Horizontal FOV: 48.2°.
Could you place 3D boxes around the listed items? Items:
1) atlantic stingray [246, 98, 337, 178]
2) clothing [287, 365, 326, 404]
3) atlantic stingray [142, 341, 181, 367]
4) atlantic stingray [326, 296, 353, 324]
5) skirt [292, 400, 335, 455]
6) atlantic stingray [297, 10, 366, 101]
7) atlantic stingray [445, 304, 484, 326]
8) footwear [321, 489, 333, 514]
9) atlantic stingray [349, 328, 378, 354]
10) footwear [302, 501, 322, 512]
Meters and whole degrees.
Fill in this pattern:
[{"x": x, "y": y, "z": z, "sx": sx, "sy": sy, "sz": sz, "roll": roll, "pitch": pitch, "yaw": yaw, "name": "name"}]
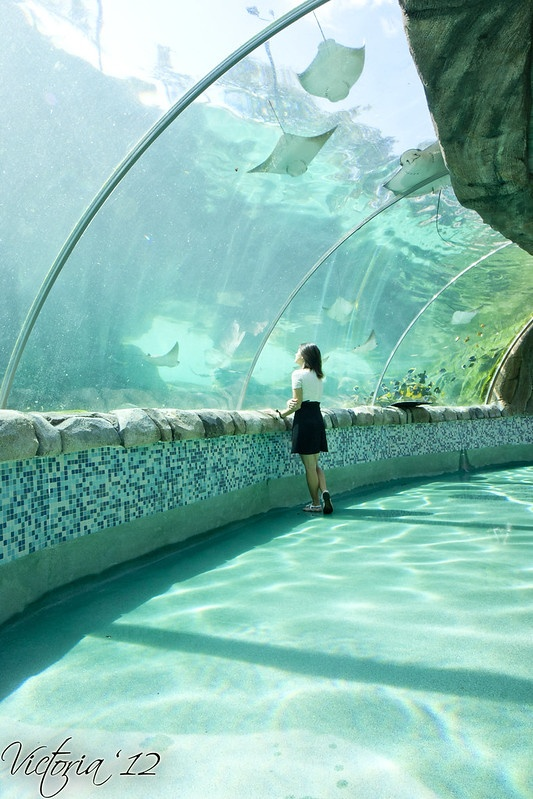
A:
[{"x": 0.240, "y": -2.528, "z": 6.000, "sx": 0.828, "sy": 0.444, "sz": 0.571, "roll": 1, "pitch": -2, "yaw": -39, "name": "atlantic stingray"}, {"x": 0.403, "y": -0.143, "z": 5.721, "sx": 0.306, "sy": 0.330, "sz": 0.238, "roll": -1, "pitch": -2, "yaw": -8, "name": "clothing"}, {"x": -1.101, "y": -0.499, "z": 6.589, "sx": 0.179, "sy": 0.269, "sz": 0.548, "roll": -2, "pitch": -2, "yaw": 21, "name": "atlantic stingray"}, {"x": 1.144, "y": -1.353, "z": 9.083, "sx": 0.285, "sy": 0.312, "sz": 0.711, "roll": -2, "pitch": -2, "yaw": 22, "name": "atlantic stingray"}, {"x": 0.427, "y": 0.282, "z": 5.811, "sx": 0.340, "sy": 0.532, "sz": 0.247, "roll": -1, "pitch": -2, "yaw": -4, "name": "skirt"}, {"x": 0.623, "y": -3.047, "z": 5.508, "sx": 0.788, "sy": 0.340, "sz": 0.461, "roll": 0, "pitch": -2, "yaw": -39, "name": "atlantic stingray"}, {"x": 3.834, "y": -1.613, "z": 11.556, "sx": 0.458, "sy": 0.223, "sz": 0.441, "roll": 4, "pitch": 32, "yaw": -22, "name": "atlantic stingray"}, {"x": 0.586, "y": 0.984, "z": 5.691, "sx": 0.088, "sy": 0.237, "sz": 0.096, "roll": -3, "pitch": 4, "yaw": -3, "name": "footwear"}, {"x": 1.718, "y": -0.976, "z": 10.288, "sx": 0.588, "sy": 0.350, "sz": 0.241, "roll": -36, "pitch": 34, "yaw": -28, "name": "atlantic stingray"}, {"x": 0.461, "y": 1.056, "z": 5.864, "sx": 0.161, "sy": 0.064, "sz": 0.079, "roll": 3, "pitch": -9, "yaw": 13, "name": "footwear"}]
